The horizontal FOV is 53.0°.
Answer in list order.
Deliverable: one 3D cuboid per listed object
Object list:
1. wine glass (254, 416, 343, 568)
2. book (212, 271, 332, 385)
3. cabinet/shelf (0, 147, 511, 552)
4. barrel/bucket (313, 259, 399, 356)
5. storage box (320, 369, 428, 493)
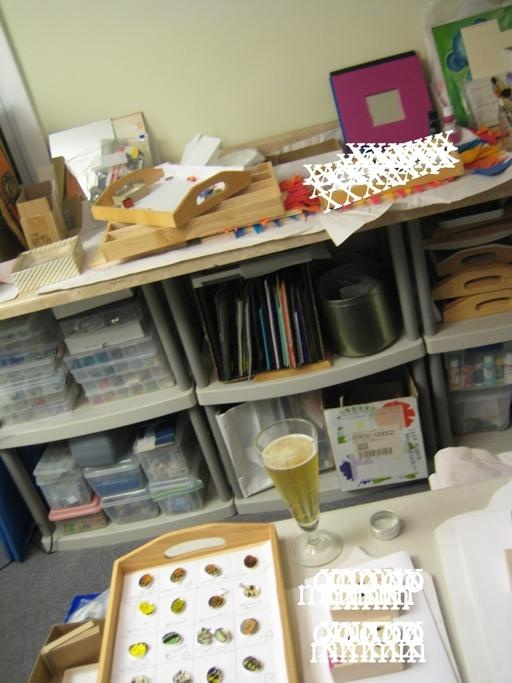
[{"bbox_3d":[0.061,0.209,0.745,0.084,0.209,0.191,-17,27,-3],"label":"wine glass"},{"bbox_3d":[0.050,-0.032,1.484,0.288,0.353,0.130,-14,52,-9],"label":"book"},{"bbox_3d":[0.016,0.005,1.405,1.275,0.703,0.403,-17,35,7],"label":"cabinet/shelf"},{"bbox_3d":[0.287,-0.088,1.493,0.206,0.211,0.196,-20,31,13],"label":"barrel/bucket"},{"bbox_3d":[0.356,0.275,1.538,0.303,0.303,0.227,-11,34,17],"label":"storage box"}]
